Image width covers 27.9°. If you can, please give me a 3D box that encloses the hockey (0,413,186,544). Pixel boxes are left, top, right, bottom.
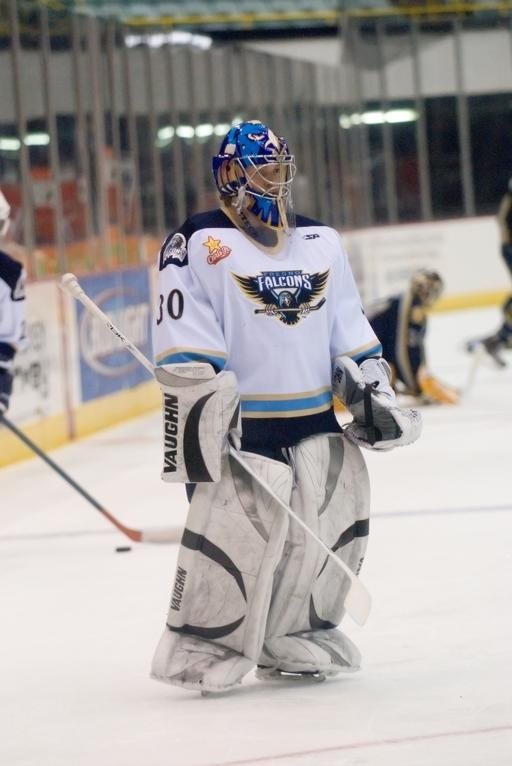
[{"bbox_3d":[-0.528,0.279,3.415,0.323,0.085,0.871,-17,-43,40],"label":"hockey"}]
